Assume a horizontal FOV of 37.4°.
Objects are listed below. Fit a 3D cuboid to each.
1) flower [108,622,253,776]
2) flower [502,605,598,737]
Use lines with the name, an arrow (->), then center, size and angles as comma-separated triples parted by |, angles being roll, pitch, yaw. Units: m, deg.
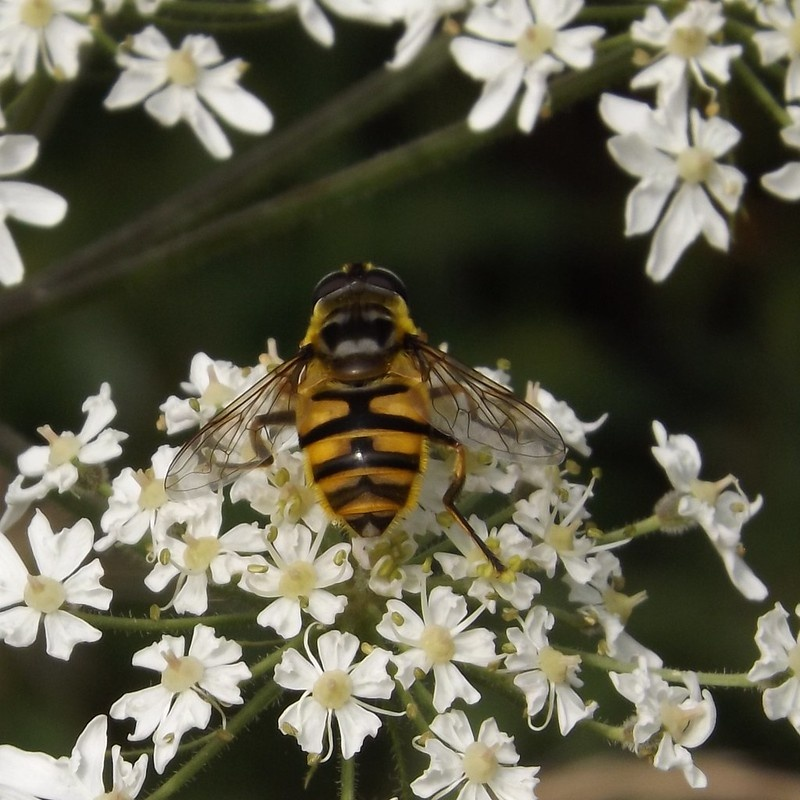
flower -> -0.418, 0.577, 2.307 | 0.279, 0.263, 0.183 | -32, -48, 24
flower -> 0.294, 0.551, 2.346 | 0.140, 0.185, 0.243 | -29, -49, 23
